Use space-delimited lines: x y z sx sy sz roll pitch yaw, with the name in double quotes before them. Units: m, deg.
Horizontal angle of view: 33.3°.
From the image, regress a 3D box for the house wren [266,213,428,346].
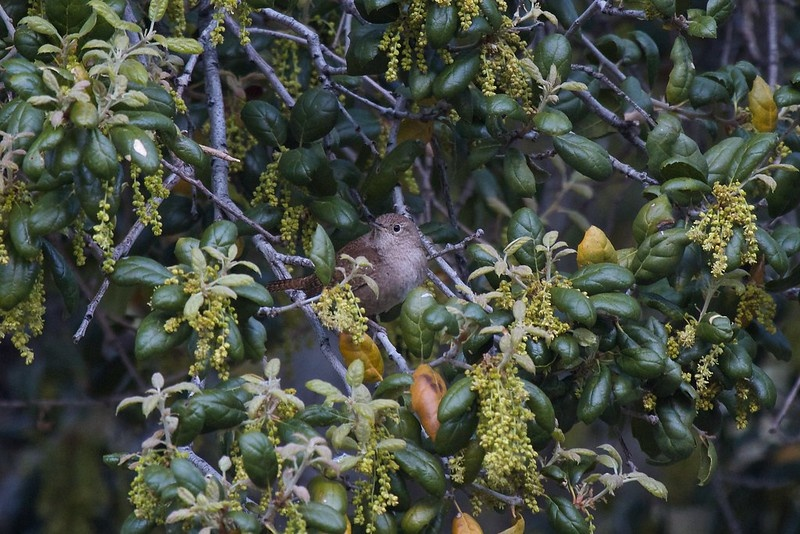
"house wren" -0.263 -0.005 7.489 0.779 0.653 0.502 7 0 3
